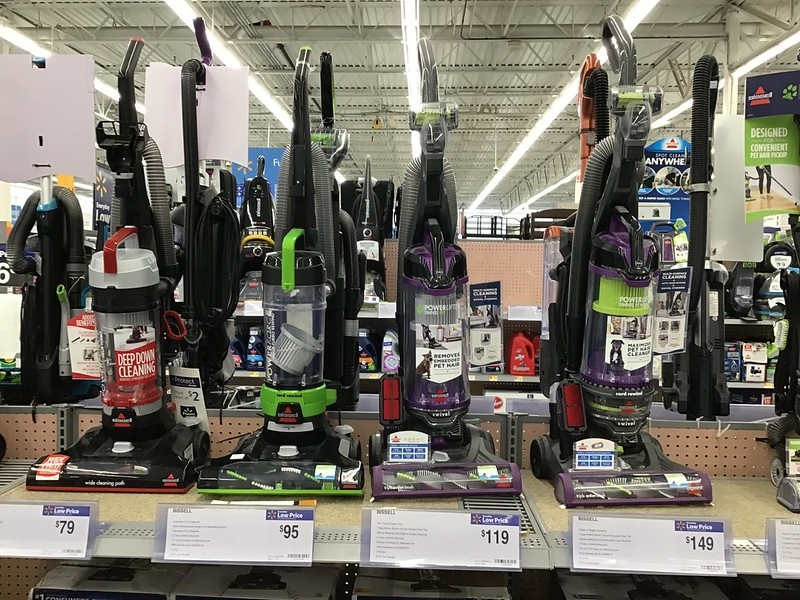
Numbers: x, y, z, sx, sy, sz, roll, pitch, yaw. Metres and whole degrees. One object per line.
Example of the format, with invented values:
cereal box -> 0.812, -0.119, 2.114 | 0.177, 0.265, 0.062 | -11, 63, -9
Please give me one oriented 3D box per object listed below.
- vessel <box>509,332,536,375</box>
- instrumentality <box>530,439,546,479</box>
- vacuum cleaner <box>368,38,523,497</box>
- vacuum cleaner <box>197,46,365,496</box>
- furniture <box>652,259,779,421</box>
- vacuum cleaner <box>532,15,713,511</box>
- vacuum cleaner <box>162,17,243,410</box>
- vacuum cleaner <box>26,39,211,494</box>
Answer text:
vessel -> 0.846, 0.380, 5.034 | 0.240, 0.365, 0.221 | 1, 0, -1
instrumentality -> 0.537, 0.618, 2.718 | 0.045, 0.151, 0.146 | 1, 3, -2
vacuum cleaner -> 0.125, -0.013, 2.596 | 0.535, 1.429, 0.372 | -3, 5, -4
vacuum cleaner -> -0.469, -0.149, 2.721 | 0.596, 1.658, 0.663 | -2, 5, -1
furniture -> 1.290, 0.175, 2.960 | 0.436, 0.661, 0.448 | 6, -1, -18
vacuum cleaner -> 0.805, -0.179, 2.701 | 0.636, 1.789, 0.694 | -2, 5, 7
vacuum cleaner -> -0.766, -0.333, 2.711 | 0.276, 1.288, 0.381 | -16, 26, -38
vacuum cleaner -> -1.073, -0.153, 2.587 | 0.590, 1.689, 0.395 | -3, 5, -10
